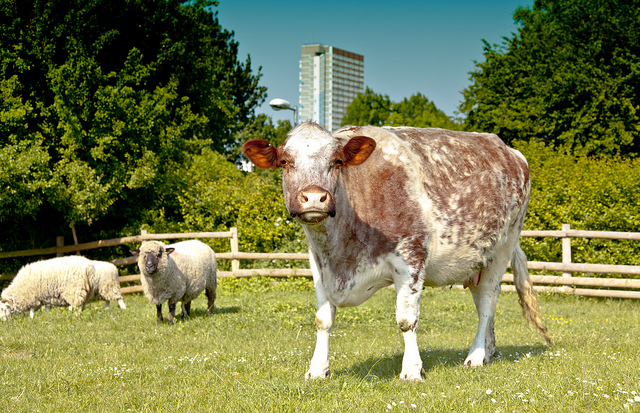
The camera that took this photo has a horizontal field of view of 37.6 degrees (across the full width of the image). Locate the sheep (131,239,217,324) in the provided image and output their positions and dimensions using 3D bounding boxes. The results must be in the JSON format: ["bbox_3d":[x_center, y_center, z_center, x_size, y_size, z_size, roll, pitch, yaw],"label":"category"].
[{"bbox_3d":[-4.774,2.558,31.348,1.761,2.778,3.826,3,2,26],"label":"sheep"}]

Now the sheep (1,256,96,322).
[{"bbox_3d":[-9.151,2.775,31.618,3.236,2.358,1.474,-2,-7,1],"label":"sheep"}]

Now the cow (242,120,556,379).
[{"bbox_3d":[2.300,1.411,26.825,10.384,7.326,3.791,0,3,-41],"label":"cow"}]
